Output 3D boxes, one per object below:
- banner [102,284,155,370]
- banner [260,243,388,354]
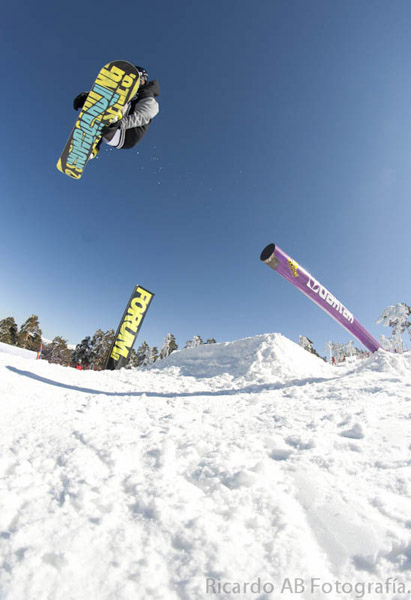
[{"bbox_3d":[-2.637,0.958,15.700,0.798,3.202,0.897,20,-18,-8],"label":"banner"},{"bbox_3d":[4.155,0.392,14.033,0.837,0.876,7.840,-42,-48,18],"label":"banner"}]
